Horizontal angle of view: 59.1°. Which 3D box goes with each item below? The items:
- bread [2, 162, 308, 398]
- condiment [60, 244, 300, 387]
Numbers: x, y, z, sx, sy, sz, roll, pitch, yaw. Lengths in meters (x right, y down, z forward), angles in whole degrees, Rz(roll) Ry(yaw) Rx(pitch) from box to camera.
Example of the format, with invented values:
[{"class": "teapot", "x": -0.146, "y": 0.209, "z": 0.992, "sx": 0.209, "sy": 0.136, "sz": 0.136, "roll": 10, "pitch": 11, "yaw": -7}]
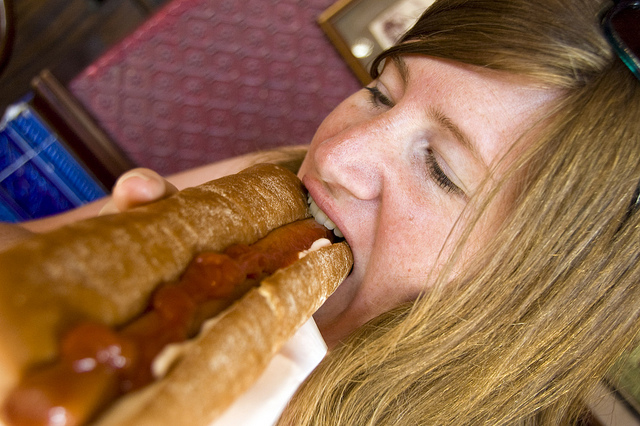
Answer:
[{"class": "bread", "x": -0.280, "y": 0.068, "z": 1.037, "sx": 0.590, "sy": 0.253, "sz": 0.170, "roll": -31, "pitch": 6, "yaw": -28}, {"class": "condiment", "x": -0.195, "y": 0.153, "z": 0.960, "sx": 0.413, "sy": 0.114, "sz": 0.145, "roll": -31, "pitch": 49, "yaw": -21}]
